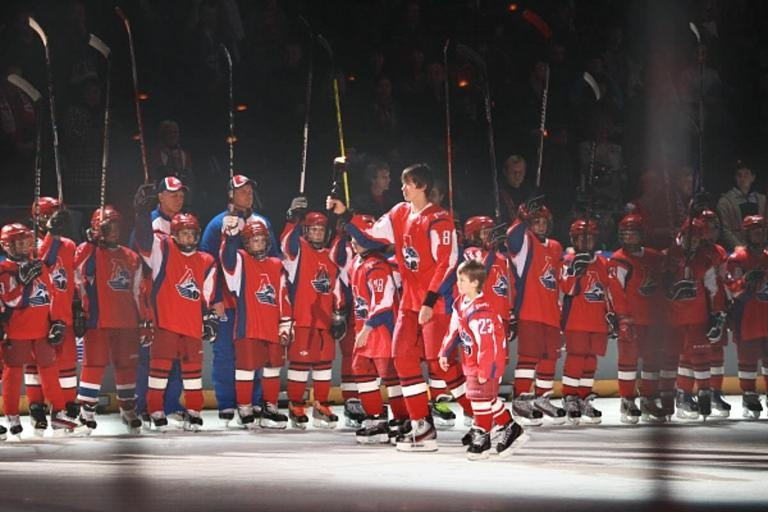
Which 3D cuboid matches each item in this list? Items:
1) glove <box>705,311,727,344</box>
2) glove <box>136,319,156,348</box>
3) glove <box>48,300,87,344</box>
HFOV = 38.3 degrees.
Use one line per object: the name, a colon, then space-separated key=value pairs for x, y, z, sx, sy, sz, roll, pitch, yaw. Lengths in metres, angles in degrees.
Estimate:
glove: x=3.706 y=0.778 z=12.269 sx=0.192 sy=0.421 sz=0.174 roll=8 pitch=15 yaw=10
glove: x=-2.512 y=0.798 z=11.567 sx=0.123 sy=0.286 sz=0.287 roll=3 pitch=-13 yaw=-25
glove: x=-3.297 y=0.691 z=11.453 sx=0.263 sy=0.455 sz=0.317 roll=-13 pitch=-16 yaw=41
